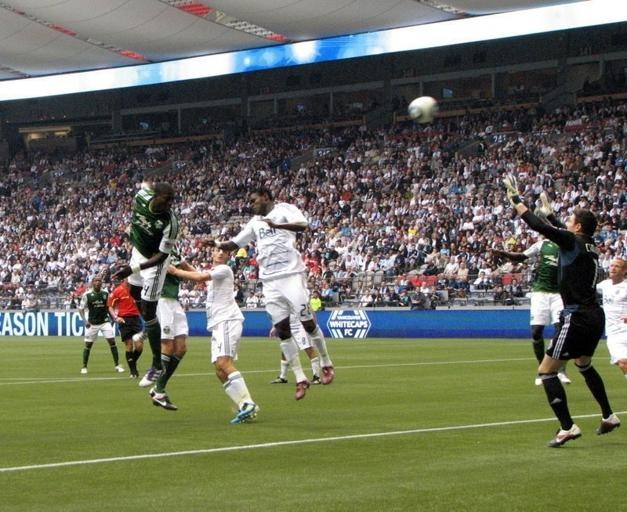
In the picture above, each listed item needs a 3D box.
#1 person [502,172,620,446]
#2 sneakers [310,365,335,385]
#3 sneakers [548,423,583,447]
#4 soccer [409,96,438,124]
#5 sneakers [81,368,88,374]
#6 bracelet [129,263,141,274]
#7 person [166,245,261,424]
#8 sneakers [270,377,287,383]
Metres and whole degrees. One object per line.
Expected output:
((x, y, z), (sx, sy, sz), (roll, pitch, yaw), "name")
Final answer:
((3.029, 0.626, 11.844), (1.292, 3.132, 0.612), (-1, 3, -17), "person")
((0.163, 1.913, 16.111), (0.231, 0.221, 0.593), (7, -5, -7), "sneakers")
((2.918, 2.080, 11.721), (0.395, 0.252, 0.298), (-1, 2, -6), "sneakers")
((2.000, -2.685, 18.300), (0.463, 0.492, 0.809), (0, 2, 4), "soccer")
((-4.556, 2.286, 19.992), (0.096, 0.075, 0.198), (2, -13, -20), "sneakers")
((-2.418, 0.165, 13.772), (0.139, 0.087, 0.141), (2, -3, 35), "bracelet")
((-1.797, 1.483, 18.639), (1.837, 1.091, 3.458), (-4, 38, -1), "person")
((-0.602, 2.107, 17.099), (0.308, 0.098, 0.090), (3, -9, 4), "sneakers")
